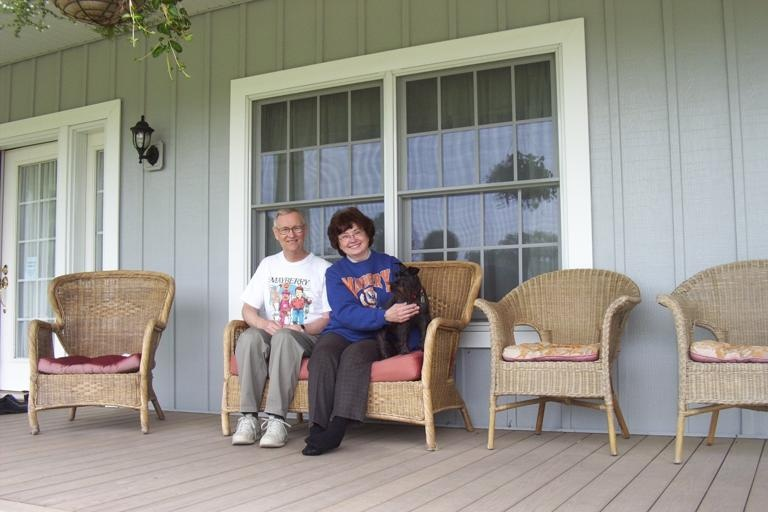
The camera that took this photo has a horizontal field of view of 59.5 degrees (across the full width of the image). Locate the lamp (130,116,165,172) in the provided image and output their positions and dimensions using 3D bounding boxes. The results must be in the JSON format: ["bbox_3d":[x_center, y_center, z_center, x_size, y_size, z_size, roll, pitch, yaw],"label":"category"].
[{"bbox_3d":[-2.118,-1.010,6.035,0.258,0.436,0.221,-3,1,-21],"label":"lamp"}]

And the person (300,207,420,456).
[{"bbox_3d":[-0.209,0.448,4.522,0.822,1.159,0.646,-3,1,-15],"label":"person"}]

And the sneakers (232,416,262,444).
[{"bbox_3d":[-0.918,1.155,4.486,0.188,0.158,0.152,-3,1,-13],"label":"sneakers"}]

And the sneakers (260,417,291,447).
[{"bbox_3d":[-0.729,1.153,4.422,0.183,0.156,0.182,-3,1,-11],"label":"sneakers"}]

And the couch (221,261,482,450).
[{"bbox_3d":[-0.124,0.758,4.822,2.072,1.423,1.204,-6,-16,21],"label":"couch"}]
